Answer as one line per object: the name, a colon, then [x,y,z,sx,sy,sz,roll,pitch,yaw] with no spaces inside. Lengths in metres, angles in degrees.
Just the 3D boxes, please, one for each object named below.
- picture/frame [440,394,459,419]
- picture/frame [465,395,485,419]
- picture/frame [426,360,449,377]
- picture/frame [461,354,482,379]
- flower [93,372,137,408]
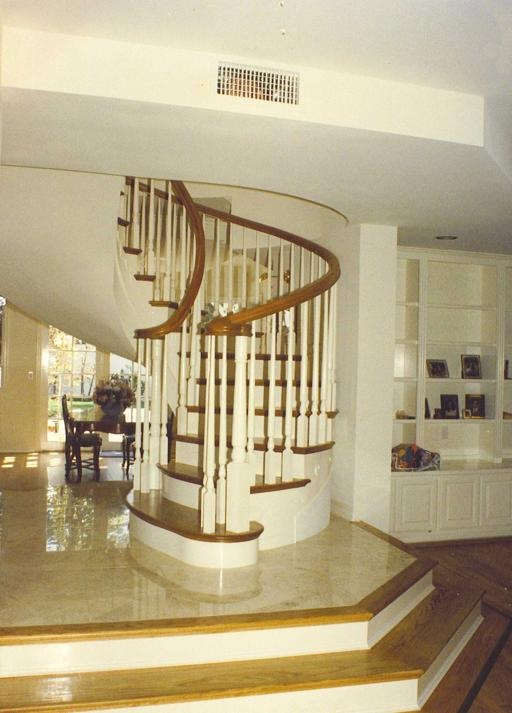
picture/frame: [1.620,0.422,5.402,0.171,0.231,0.022,10,-25,-19]
picture/frame: [1.860,0.431,5.479,0.180,0.219,0.024,6,-14,-11]
picture/frame: [1.501,0.098,5.350,0.130,0.123,0.010,14,-30,-23]
picture/frame: [1.828,0.087,5.477,0.199,0.228,0.018,4,-9,-24]
flower: [-1.650,0.400,7.481,0.448,0.400,0.468,-1,9,-2]
